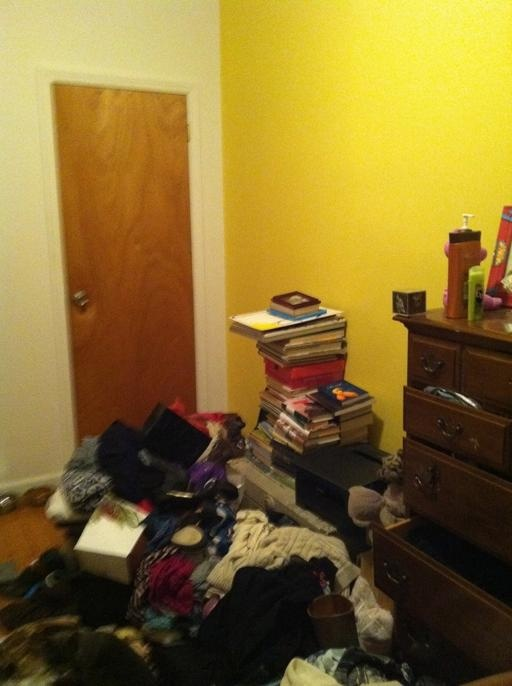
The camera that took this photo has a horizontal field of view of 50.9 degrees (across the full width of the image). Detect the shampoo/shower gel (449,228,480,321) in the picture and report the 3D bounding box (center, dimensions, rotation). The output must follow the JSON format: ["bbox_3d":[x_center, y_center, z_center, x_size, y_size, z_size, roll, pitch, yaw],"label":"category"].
[{"bbox_3d":[0.452,-0.161,1.249,0.092,0.198,0.079,-3,8,-21],"label":"shampoo/shower gel"}]

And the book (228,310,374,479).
[{"bbox_3d":[0.191,0.156,2.115,0.410,0.591,0.576,-7,16,-27],"label":"book"}]
